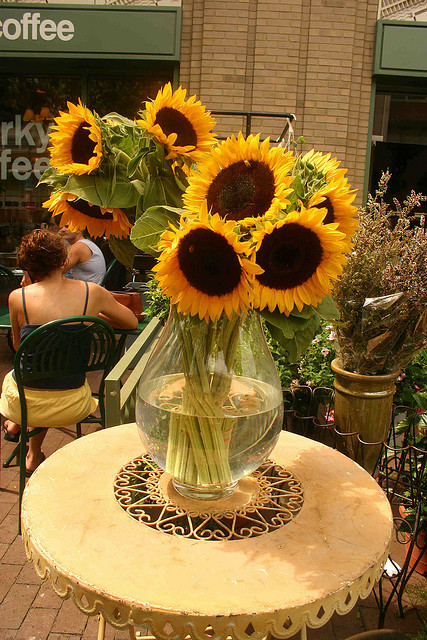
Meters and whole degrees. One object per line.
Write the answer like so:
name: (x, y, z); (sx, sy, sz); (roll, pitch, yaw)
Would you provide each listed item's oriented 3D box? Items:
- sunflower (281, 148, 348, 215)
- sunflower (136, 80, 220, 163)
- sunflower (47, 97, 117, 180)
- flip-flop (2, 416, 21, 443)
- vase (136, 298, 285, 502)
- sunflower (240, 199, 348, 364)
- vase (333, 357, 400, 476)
sunflower: (0.205, -0.303, 0.985); (0.130, 0.165, 0.095); (1, 17, 4)
sunflower: (-0.086, -0.417, 1.063); (0.171, 0.181, 0.118); (14, 20, 39)
sunflower: (-0.274, -0.378, 1.038); (0.173, 0.169, 0.067); (6, 7, 20)
flip-flop: (-1.449, 0.781, 3.420); (0.089, 0.095, 0.261); (-1, 14, -23)
vase: (-0.011, 0.187, 1.325); (0.458, 0.648, 0.423); (0, 10, -8)
sunflower: (0.140, -0.075, 0.994); (0.207, 0.343, 0.201); (-4, 15, -16)
vase: (0.828, 0.517, 2.582); (0.354, 0.574, 0.345); (8, -27, 13)
